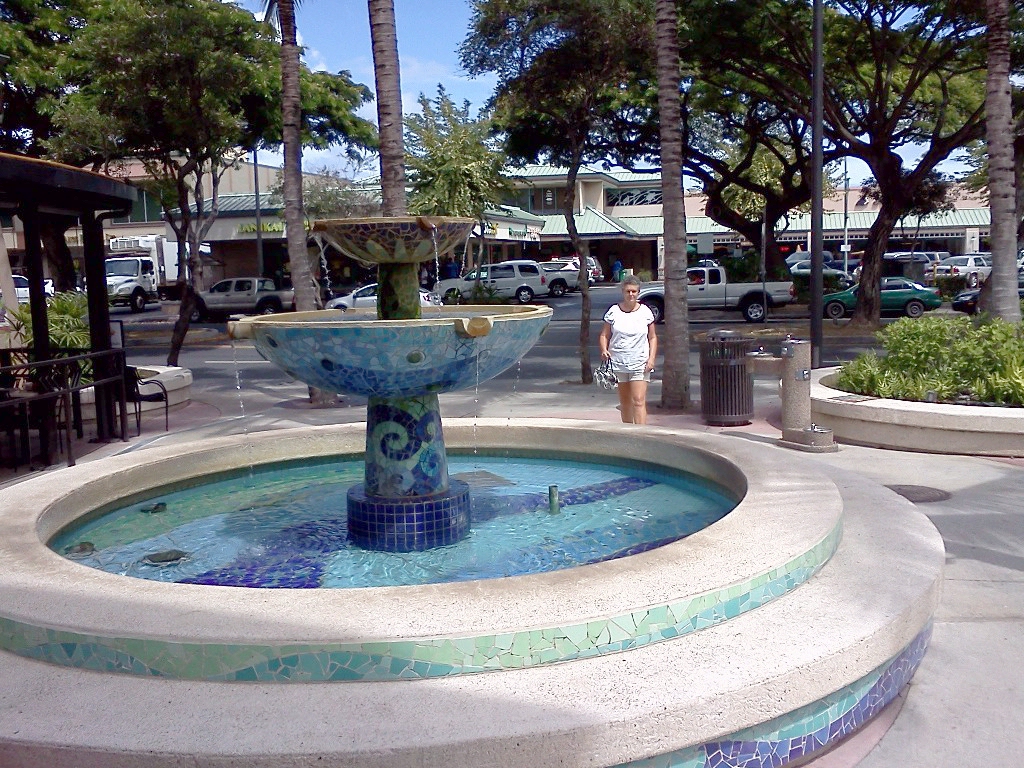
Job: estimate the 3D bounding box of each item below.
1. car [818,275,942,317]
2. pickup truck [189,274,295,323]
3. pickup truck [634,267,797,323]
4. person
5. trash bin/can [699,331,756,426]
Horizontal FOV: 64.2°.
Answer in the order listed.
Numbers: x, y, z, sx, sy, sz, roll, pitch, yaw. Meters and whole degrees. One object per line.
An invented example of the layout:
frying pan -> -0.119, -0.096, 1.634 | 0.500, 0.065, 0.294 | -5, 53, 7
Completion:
car -> 14.405, -3.346, 31.970 | 4.447, 1.553, 1.735 | -5, 6, -15
pickup truck -> -12.932, -4.173, 39.909 | 4.130, 1.965, 1.340 | -4, 6, 0
pickup truck -> 8.423, -3.803, 33.950 | 6.418, 2.173, 2.397 | 2, 15, 21
person -> 1.360, -0.410, 9.885 | 0.640, 1.767, 0.660 | -2, 7, 21
trash bin/can -> 3.081, -0.101, 11.748 | 0.927, 1.267, 0.768 | -3, 6, -15
